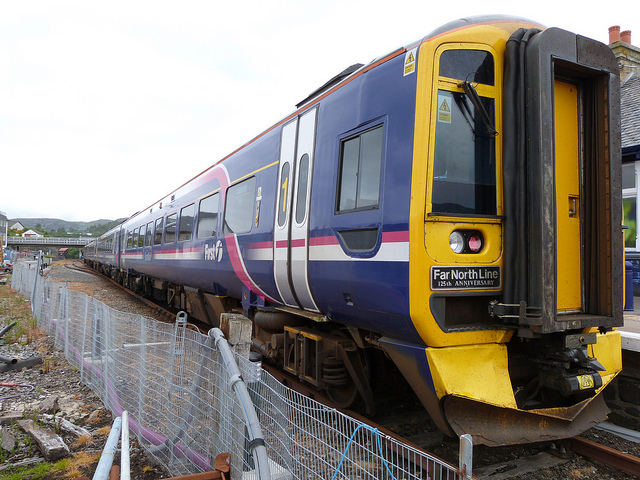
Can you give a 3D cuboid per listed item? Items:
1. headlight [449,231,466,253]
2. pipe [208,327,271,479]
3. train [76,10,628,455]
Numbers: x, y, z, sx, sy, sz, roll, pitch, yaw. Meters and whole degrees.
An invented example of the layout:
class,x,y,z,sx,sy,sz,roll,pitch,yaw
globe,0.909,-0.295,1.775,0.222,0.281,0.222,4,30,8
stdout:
class,x,y,z,sx,sy,sz,roll,pitch,yaw
headlight,1.266,0.019,3.754,0.164,0.197,0.039,-3,2,-29
pipe,-0.503,1.130,2.700,0.214,0.202,1.761,5,8,-11
train,0.946,-0.011,4.765,4.090,4.463,1.893,-1,2,42
